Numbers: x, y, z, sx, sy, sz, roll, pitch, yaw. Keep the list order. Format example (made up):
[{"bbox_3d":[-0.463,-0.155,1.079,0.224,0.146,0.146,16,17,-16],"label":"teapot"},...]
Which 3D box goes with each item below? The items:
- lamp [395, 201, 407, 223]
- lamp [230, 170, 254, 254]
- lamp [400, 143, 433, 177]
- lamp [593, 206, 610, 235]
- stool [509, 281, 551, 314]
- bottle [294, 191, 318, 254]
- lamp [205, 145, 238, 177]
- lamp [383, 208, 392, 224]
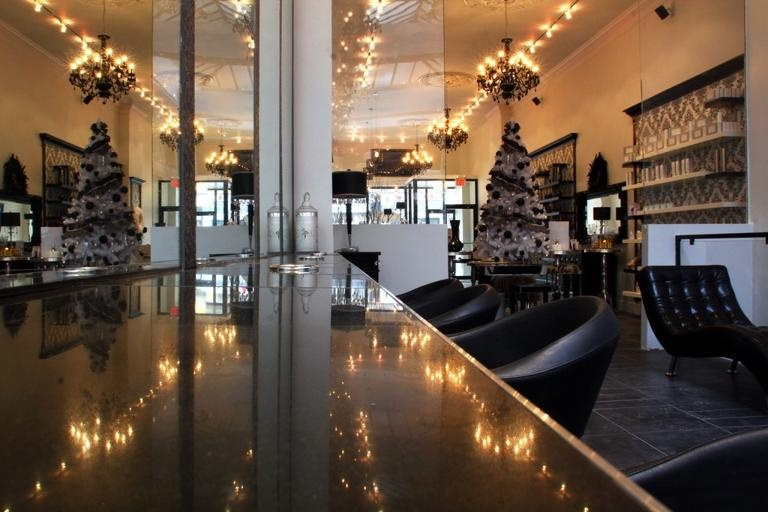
[{"bbox_3d":[0.169,-0.419,5.250,0.121,0.200,0.069,6,9,19],"label":"lamp"},{"bbox_3d":[-0.864,-0.283,3.487,0.118,0.508,0.467,2,9,-8],"label":"lamp"},{"bbox_3d":[0.320,-0.896,5.254,0.267,0.369,0.276,4,5,30],"label":"lamp"},{"bbox_3d":[3.447,-0.568,8.823,0.266,0.442,0.678,6,9,22],"label":"lamp"},{"bbox_3d":[1.522,0.395,5.853,0.395,0.406,0.410,-1,-1,3],"label":"stool"},{"bbox_3d":[-0.490,-0.163,3.540,0.135,0.303,0.157,1,8,-11],"label":"bottle"},{"bbox_3d":[-0.888,-0.517,3.078,0.124,0.106,0.130,-7,13,-41],"label":"lamp"},{"bbox_3d":[0.043,-0.393,5.256,0.098,0.193,0.101,0,0,0],"label":"lamp"}]
